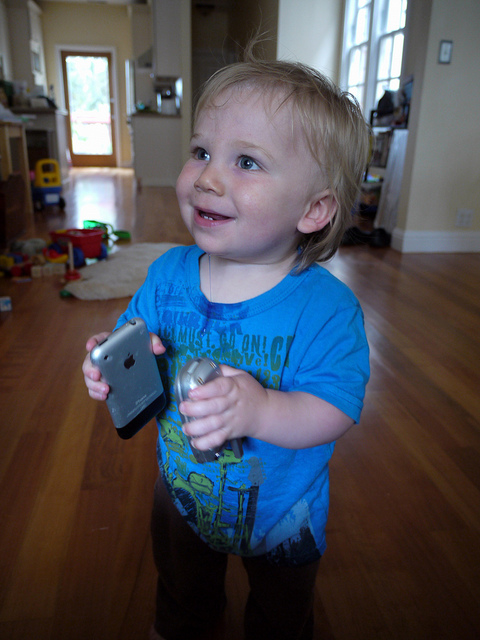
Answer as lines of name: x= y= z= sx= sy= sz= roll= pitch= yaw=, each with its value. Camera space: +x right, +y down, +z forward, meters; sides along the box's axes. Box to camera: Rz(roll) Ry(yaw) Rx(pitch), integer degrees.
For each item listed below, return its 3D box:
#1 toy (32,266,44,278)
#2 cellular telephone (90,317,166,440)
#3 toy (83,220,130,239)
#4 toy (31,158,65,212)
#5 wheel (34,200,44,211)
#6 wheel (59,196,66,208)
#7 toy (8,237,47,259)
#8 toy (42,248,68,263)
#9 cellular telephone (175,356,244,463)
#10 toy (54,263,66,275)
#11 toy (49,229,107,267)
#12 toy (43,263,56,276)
toy: x=-0.994 y=-0.239 z=2.230 sx=0.039 sy=0.053 sz=0.046 roll=9 pitch=23 yaw=17
cellular telephone: x=-0.090 y=0.052 z=0.386 sx=0.054 sy=0.111 sz=0.013 roll=-34 pitch=46 yaw=-30
toy: x=-0.864 y=-0.590 z=2.905 sx=0.218 sy=0.155 sz=0.194 roll=9 pitch=6 yaw=-11
toy: x=-1.749 y=-1.146 z=4.230 sx=0.205 sy=0.500 sz=0.550 roll=-8 pitch=-9 yaw=-19
wheel: x=-1.757 y=-1.005 z=3.928 sx=0.117 sy=0.096 sz=0.046 roll=9 pitch=22 yaw=20
wheel: x=-1.606 y=-1.051 z=4.068 sx=0.023 sy=0.118 sz=0.094 roll=0 pitch=11 yaw=33
toy: x=-1.230 y=-0.425 z=2.604 sx=0.144 sy=0.118 sz=0.217 roll=2 pitch=7 yaw=-14
toy: x=-1.000 y=-0.342 z=2.398 sx=0.217 sy=0.045 sz=0.082 roll=20 pitch=31 yaw=36
cellular telephone: x=-0.022 y=0.056 z=0.330 sx=0.019 sy=0.095 sz=0.044 roll=-10 pitch=-8 yaw=33
toy: x=-0.907 y=-0.259 z=2.273 sx=0.041 sy=0.058 sz=0.049 roll=0 pitch=8 yaw=-3
toy: x=-0.883 y=-0.411 z=2.485 sx=0.216 sy=0.213 sz=0.225 roll=-8 pitch=12 yaw=-40
toy: x=-0.952 y=-0.253 z=2.255 sx=0.041 sy=0.059 sz=0.051 roll=0 pitch=15 yaw=-2
